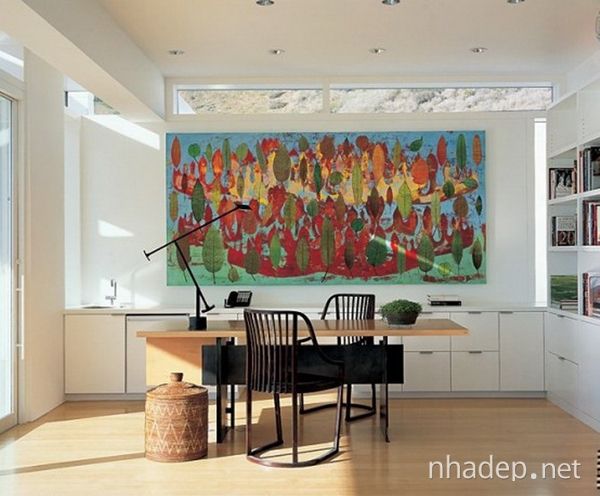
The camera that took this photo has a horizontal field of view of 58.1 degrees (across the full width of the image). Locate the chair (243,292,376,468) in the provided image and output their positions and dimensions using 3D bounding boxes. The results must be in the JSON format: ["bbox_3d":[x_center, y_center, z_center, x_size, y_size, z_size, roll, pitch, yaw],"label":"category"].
[{"bbox_3d":[-0.032,0.955,4.044,0.756,1.100,1.077,0,2,5],"label":"chair"}]

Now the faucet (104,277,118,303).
[{"bbox_3d":[-1.969,0.460,5.733,0.125,0.262,0.106,-1,2,-20],"label":"faucet"}]

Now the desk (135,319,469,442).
[{"bbox_3d":[0.078,1.062,4.281,2.344,0.914,0.784,-1,0,2],"label":"desk"}]
